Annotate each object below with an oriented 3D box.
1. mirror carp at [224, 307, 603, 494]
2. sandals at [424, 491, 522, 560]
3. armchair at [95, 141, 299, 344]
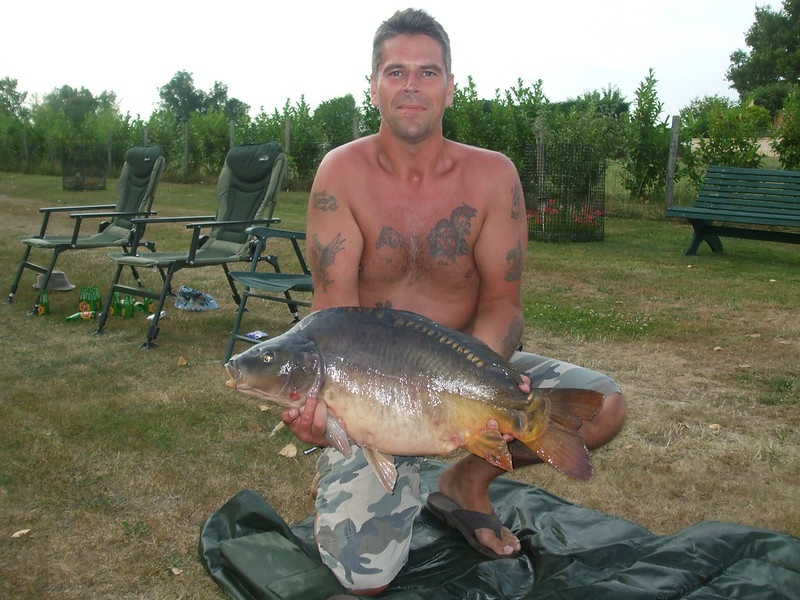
[{"bbox_3d":[-0.001,0.224,3.284,1.419,1.025,1.104,4,6,-33],"label":"mirror carp"},{"bbox_3d":[0.396,1.224,3.959,0.540,0.174,0.208,25,32,32],"label":"sandals"},{"bbox_3d":[-2.173,-0.859,7.286,1.566,2.525,1.726,8,9,39],"label":"armchair"}]
